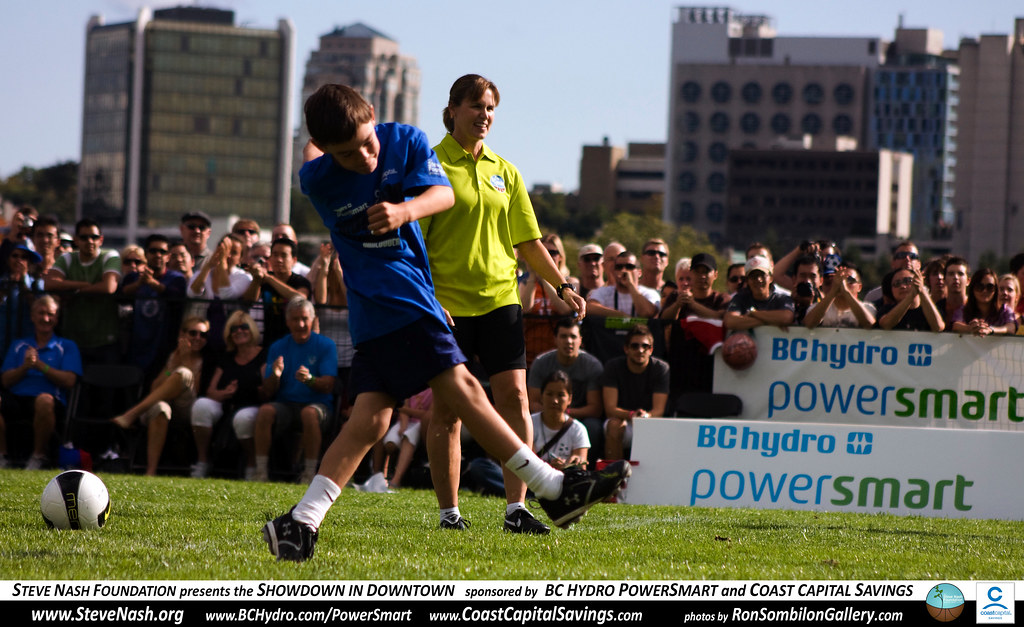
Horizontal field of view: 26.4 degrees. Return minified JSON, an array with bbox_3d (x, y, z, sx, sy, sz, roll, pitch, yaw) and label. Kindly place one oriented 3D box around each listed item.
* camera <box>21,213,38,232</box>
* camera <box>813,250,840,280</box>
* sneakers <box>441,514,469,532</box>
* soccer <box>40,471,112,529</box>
[{"bbox_3d":[-7.853,-1.515,35.312,0.146,0.239,0.363,-5,8,-44],"label":"camera"},{"bbox_3d":[4.842,-0.740,33.420,0.308,0.324,0.377,0,-12,3],"label":"camera"},{"bbox_3d":[-0.779,2.875,29.971,0.355,0.143,0.184,-1,2,1],"label":"sneakers"},{"bbox_3d":[-5.935,2.571,30.042,0.862,0.771,0.811,-1,5,3],"label":"soccer"}]
